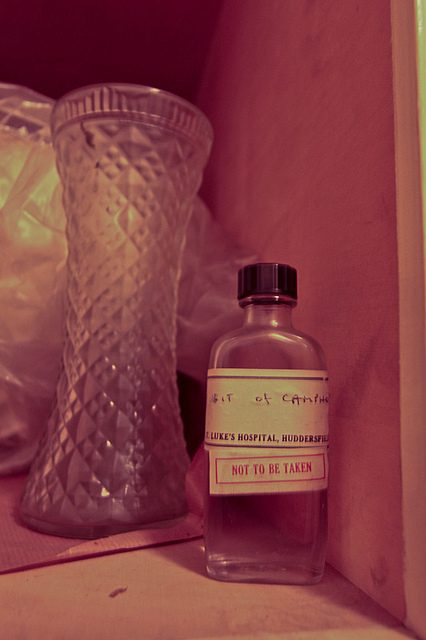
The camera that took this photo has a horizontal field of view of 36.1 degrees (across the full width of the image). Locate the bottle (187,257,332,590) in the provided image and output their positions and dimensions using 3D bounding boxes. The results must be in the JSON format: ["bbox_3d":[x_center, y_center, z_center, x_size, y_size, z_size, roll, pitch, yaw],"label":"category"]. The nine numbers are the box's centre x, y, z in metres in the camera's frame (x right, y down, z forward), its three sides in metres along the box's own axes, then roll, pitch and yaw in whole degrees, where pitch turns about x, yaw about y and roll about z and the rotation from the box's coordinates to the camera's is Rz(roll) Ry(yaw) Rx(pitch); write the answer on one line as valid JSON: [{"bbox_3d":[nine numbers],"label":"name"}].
[{"bbox_3d":[0.026,0.056,0.529,0.101,0.216,0.287,-2,11,-3],"label":"bottle"}]

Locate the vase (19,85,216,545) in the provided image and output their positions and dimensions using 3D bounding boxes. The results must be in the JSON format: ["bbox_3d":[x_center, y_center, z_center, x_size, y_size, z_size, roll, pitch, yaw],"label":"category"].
[{"bbox_3d":[-0.081,-0.011,0.516,0.135,0.336,0.177,1,12,11],"label":"vase"}]
